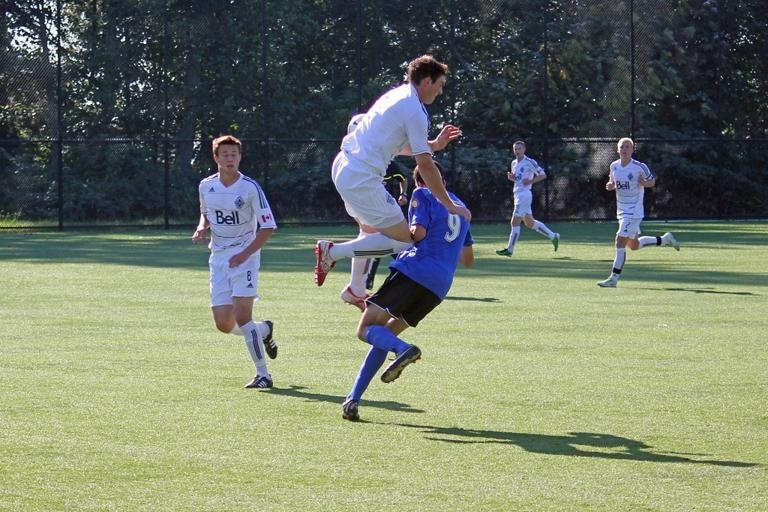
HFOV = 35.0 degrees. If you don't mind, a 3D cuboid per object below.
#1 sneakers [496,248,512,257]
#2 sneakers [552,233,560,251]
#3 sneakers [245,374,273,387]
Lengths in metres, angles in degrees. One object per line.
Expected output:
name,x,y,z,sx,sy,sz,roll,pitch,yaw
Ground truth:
sneakers,2.365,-0.049,24.246,0.131,0.153,0.366,1,11,-18
sneakers,3.612,-0.236,25.500,0.243,0.508,0.186,-4,41,4
sneakers,-1.423,1.442,14.068,0.342,0.124,0.127,-1,-2,-12
